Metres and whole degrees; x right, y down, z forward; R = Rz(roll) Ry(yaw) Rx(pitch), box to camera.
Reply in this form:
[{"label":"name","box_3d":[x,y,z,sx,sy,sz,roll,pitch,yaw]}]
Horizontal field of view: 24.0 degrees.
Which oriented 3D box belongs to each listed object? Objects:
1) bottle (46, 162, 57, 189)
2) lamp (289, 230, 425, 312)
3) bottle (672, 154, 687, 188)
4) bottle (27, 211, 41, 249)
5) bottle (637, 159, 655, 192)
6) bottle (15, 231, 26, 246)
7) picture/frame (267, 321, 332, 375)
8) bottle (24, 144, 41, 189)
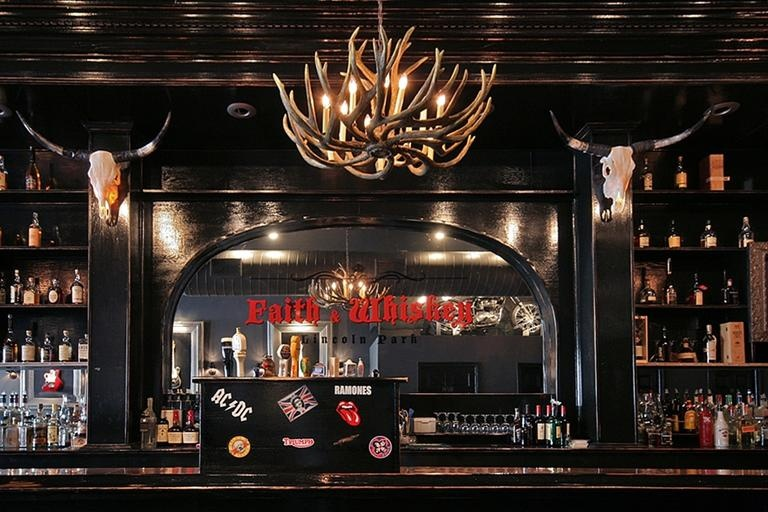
[{"label":"bottle","box_3d":[-3.194,-0.749,17.206,0.107,0.263,0.115,-3,-12,-1]},{"label":"lamp","box_3d":[-0.272,0.156,17.508,0.900,0.619,0.858,2,-2,-31]},{"label":"bottle","box_3d":[2.846,-0.781,17.261,0.136,0.371,0.314,-6,-12,9]},{"label":"bottle","box_3d":[-3.317,-0.234,17.056,0.121,0.404,0.353,-1,-12,-10]},{"label":"bottle","box_3d":[2.499,-0.765,17.189,0.141,0.405,0.345,-5,-12,8]},{"label":"bottle","box_3d":[-3.482,-0.151,17.191,0.104,0.119,0.046,-6,-1,-10]},{"label":"picture/frame","box_3d":[-0.799,0.869,17.020,0.613,0.565,0.066,0,0,3]},{"label":"bottle","box_3d":[-3.344,-0.811,17.126,0.137,0.450,0.281,-2,-12,-9]}]
